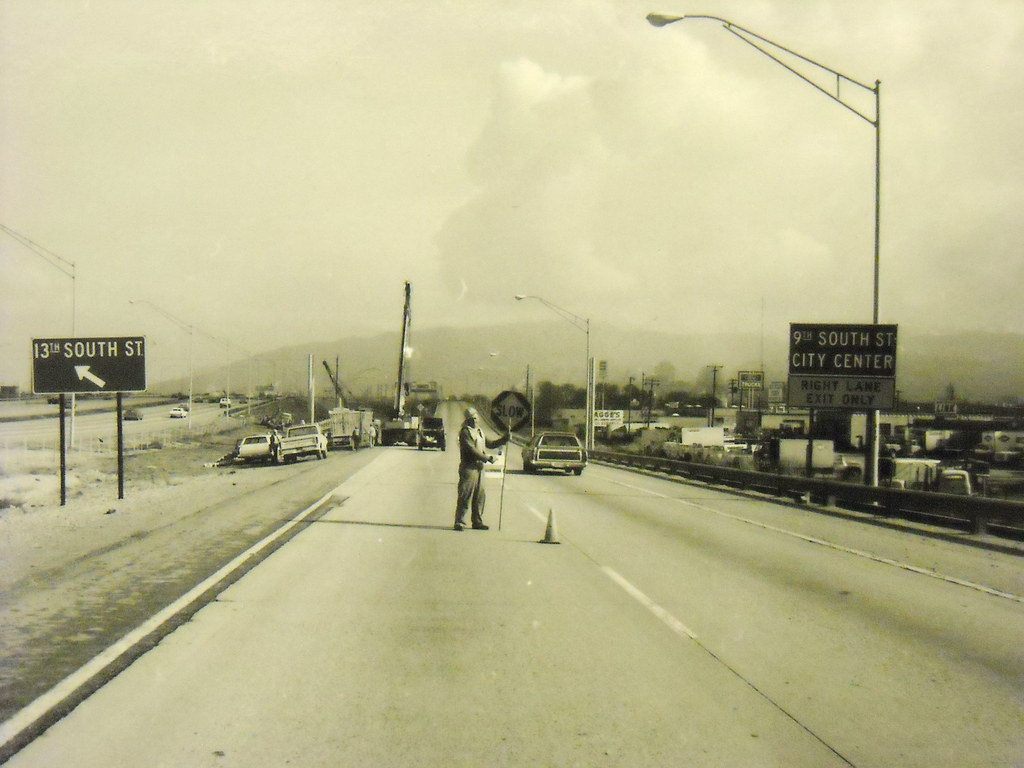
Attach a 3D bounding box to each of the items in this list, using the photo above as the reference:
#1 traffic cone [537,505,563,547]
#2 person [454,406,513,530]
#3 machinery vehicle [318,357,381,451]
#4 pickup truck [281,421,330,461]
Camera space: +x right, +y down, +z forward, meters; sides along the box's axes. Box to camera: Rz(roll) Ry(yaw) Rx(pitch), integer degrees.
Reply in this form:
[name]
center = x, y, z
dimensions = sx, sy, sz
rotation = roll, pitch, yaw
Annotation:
[traffic cone]
center = 0.679, 2.543, 21.399
dimensions = 0.459, 0.933, 0.498
rotation = 1, -7, 2
[person]
center = -0.820, 1.506, 22.382
dimensions = 0.934, 2.365, 0.986
rotation = 0, -1, 11
[machinery vehicle]
center = -9.738, 1.145, 69.799
dimensions = 2.591, 5.298, 8.107
rotation = -6, 5, -2
[pickup truck]
center = -8.836, 2.490, 50.531
dimensions = 1.035, 1.091, 2.065
rotation = 0, 4, 2
